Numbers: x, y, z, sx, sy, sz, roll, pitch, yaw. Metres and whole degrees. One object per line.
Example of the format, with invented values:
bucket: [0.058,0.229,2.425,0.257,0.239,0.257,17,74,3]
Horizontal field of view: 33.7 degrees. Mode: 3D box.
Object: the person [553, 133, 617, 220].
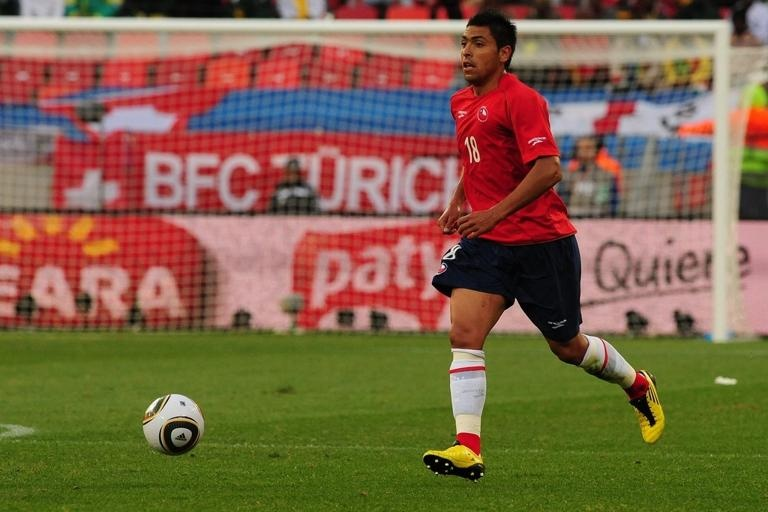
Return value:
person: [2.620,-1.084,16.868,1.006,0.989,0.245,5,2,36]
